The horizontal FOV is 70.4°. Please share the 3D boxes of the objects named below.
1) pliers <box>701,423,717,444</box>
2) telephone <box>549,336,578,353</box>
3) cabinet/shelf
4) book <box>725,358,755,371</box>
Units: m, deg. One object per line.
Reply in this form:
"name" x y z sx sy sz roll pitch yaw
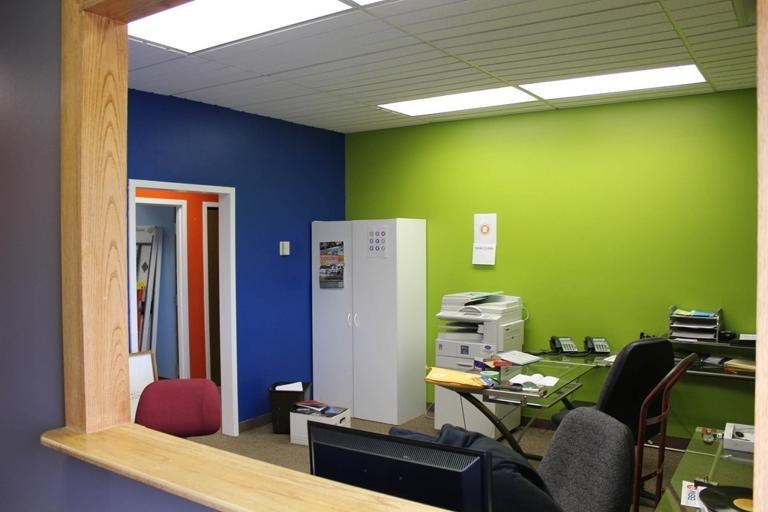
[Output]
"pliers" 1.986 1.101 3.338 0.066 0.070 0.078 -5 7 -42
"telephone" 1.815 0.902 5.512 0.167 0.090 0.212 1 -2 -5
"cabinet/shelf" -0.142 0.715 6.486 1.326 2.337 0.540 5 2 27
"book" 3.036 0.930 4.656 0.212 0.090 0.259 4 2 29
